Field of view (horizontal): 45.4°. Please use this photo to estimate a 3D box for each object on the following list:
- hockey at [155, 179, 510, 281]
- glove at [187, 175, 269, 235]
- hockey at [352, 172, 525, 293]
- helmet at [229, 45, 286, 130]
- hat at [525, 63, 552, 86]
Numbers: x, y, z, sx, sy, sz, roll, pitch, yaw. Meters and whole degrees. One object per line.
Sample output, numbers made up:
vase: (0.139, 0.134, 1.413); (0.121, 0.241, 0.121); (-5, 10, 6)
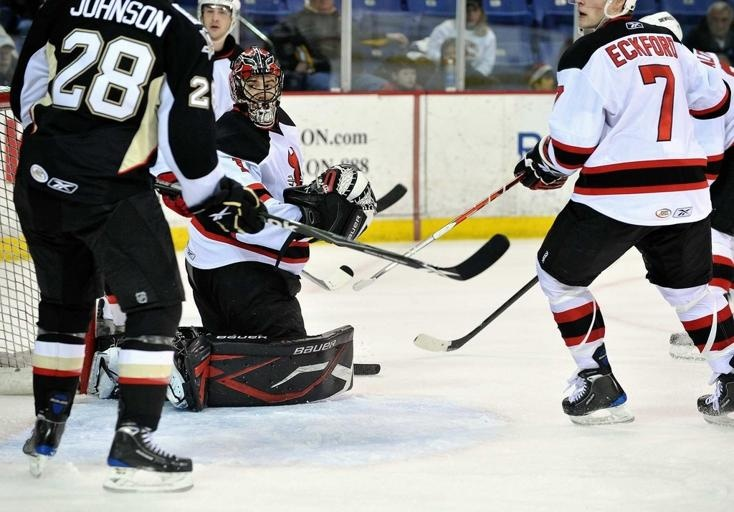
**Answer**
hockey: (-0.193, -0.141, 4.149); (2.002, 0.502, 0.133); (-1, 4, 44)
glove: (-0.429, -0.168, 2.771); (0.238, 0.180, 0.092); (33, 34, -40)
hockey: (0.426, -0.148, 5.614); (1.965, 0.192, 0.089); (-31, -17, 38)
helmet: (-0.430, -0.679, 3.480); (0.242, 0.250, 0.295); (-9, 20, -22)
hat: (1.510, -1.544, 7.568); (0.184, 0.215, 0.223); (16, 42, 24)
